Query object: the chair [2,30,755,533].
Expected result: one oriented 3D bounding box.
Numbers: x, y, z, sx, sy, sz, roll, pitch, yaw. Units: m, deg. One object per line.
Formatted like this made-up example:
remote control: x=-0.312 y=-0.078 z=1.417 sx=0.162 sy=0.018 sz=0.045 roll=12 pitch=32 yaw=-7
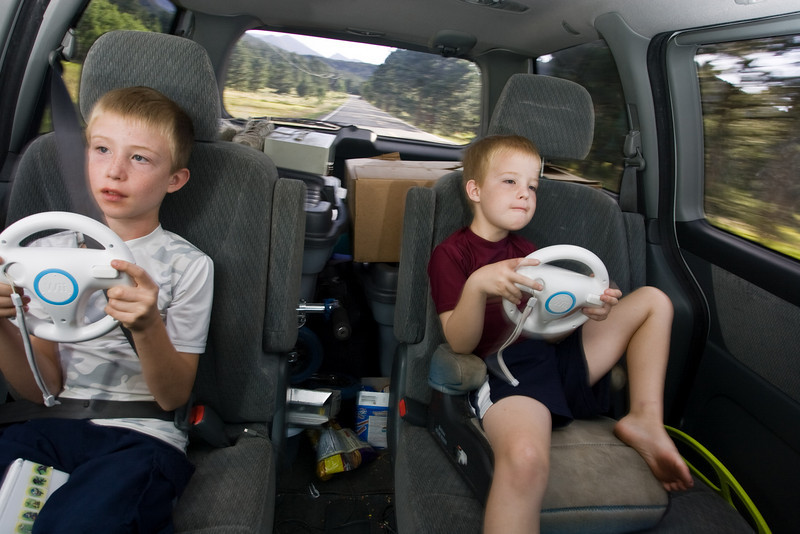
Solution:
chair: x=0.001 y=0.080 z=1.837 sx=2.191 sy=1.404 sz=0.824 roll=0 pitch=32 yaw=-10
